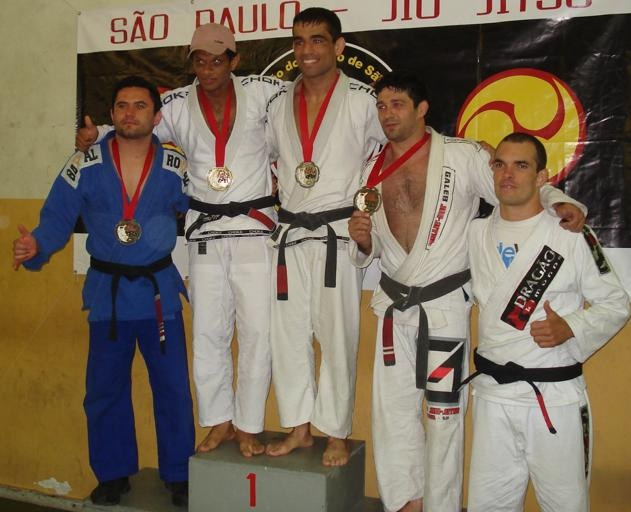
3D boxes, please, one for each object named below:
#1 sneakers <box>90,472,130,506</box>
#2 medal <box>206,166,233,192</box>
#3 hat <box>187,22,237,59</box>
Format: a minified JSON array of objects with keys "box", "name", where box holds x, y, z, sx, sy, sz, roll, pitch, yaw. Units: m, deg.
[{"box":[-1.289,1.472,4.609,0.244,0.144,0.203,-30,22,-4],"name":"sneakers"},{"box":[-0.582,-0.465,4.427,0.145,0.144,0.048,1,11,-2],"name":"medal"},{"box":[-0.631,-1.284,4.459,0.284,0.224,0.418,1,4,10],"name":"hat"}]
